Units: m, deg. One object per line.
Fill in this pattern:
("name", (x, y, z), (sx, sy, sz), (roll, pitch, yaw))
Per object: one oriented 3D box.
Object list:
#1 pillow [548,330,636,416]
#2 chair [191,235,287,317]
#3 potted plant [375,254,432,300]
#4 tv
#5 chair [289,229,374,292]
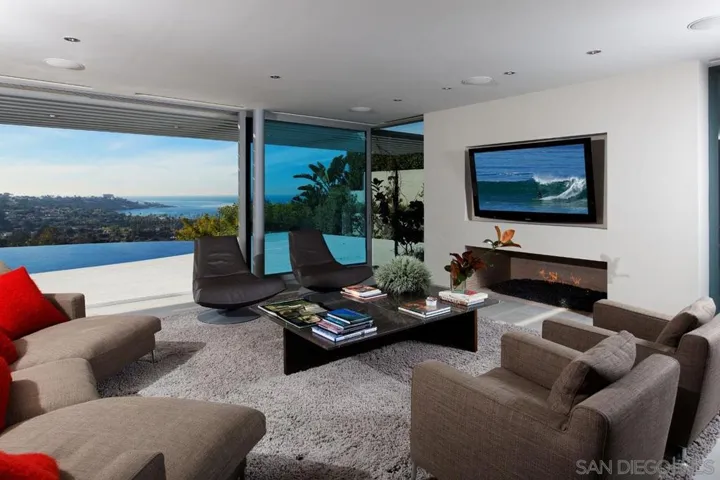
("pillow", (1.274, 0.704, 2.125), (0.567, 0.313, 0.189), (-6, 14, -31))
("chair", (-1.682, 0.431, 5.060), (1.074, 0.684, 1.059), (-7, 19, -37))
("potted plant", (0.479, 0.396, 4.355), (0.509, 0.275, 0.483), (3, 4, 28))
("tv", (2.397, -0.826, 5.399), (0.108, 0.783, 1.492), (-10, 9, -44))
("chair", (-0.529, 0.309, 5.812), (1.075, 0.705, 1.081), (-7, 16, -37))
